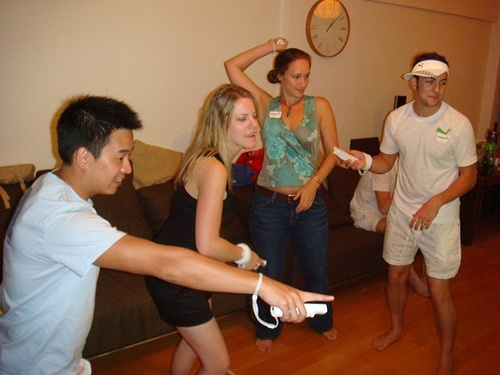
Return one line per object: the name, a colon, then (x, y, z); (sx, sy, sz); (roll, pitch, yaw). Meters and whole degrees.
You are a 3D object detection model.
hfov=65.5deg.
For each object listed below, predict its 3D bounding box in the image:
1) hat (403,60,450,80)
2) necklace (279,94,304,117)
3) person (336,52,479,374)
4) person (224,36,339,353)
hat: (1.180, -0.792, 2.613); (0.272, 0.145, 0.182); (16, 1, 25)
necklace: (0.271, -0.563, 2.662); (0.133, 0.161, 0.053); (4, 2, 18)
person: (1.180, 0.166, 2.690); (0.791, 2.285, 0.452); (12, 1, 18)
person: (0.261, 0.092, 2.712); (0.730, 2.259, 0.573); (-1, 8, -1)
